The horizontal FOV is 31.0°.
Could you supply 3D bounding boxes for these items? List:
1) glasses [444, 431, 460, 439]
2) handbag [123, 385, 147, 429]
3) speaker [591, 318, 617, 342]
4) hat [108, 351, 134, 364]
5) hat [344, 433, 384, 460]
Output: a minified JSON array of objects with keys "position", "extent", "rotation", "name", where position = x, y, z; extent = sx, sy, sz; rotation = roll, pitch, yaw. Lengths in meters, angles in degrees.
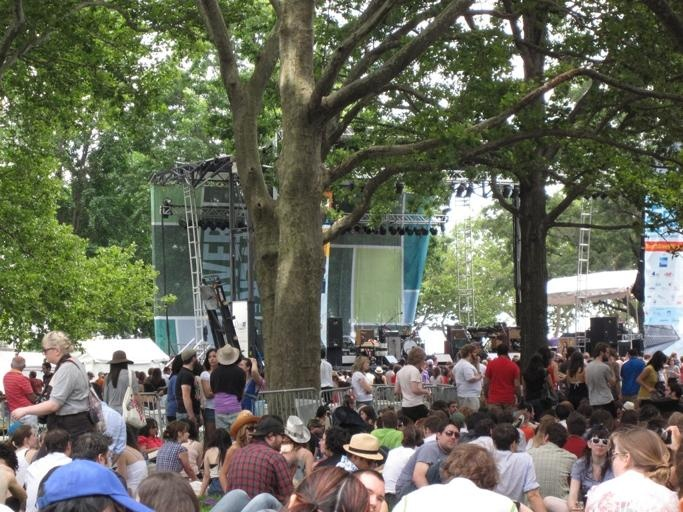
[{"position":[2.072,3.273,22.650],"extent":[0.325,0.142,0.111],"rotation":[4,-6,-43],"name":"glasses"},{"position":[-4.363,3.154,25.718],"extent":[0.235,0.795,0.681],"rotation":[-21,-30,5],"name":"handbag"},{"position":[8.765,2.402,40.404],"extent":[0.721,0.961,0.967],"rotation":[5,-9,-33],"name":"speaker"},{"position":[-4.937,2.246,27.265],"extent":[0.344,0.186,0.354],"rotation":[-5,-2,43],"name":"hat"},{"position":[0.383,3.391,21.914],"extent":[0.689,0.463,0.346],"rotation":[-1,-4,3],"name":"hat"}]
